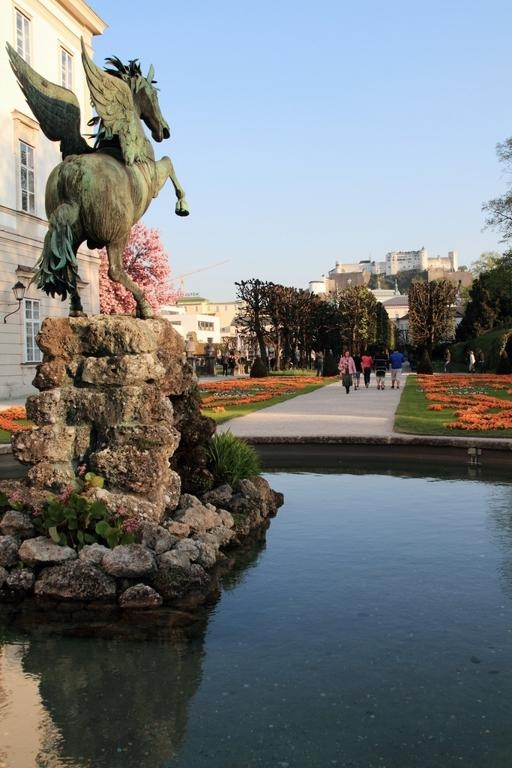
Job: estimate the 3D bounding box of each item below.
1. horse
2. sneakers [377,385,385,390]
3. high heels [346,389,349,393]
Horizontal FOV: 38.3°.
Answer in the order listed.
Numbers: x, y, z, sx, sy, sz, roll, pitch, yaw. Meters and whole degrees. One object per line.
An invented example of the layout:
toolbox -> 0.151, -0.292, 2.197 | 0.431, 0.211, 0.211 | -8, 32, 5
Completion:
horse -> -1.611, -2.076, 7.539 | 1.579, 2.812, 1.659 | -3, 4, -9
sneakers -> 5.039, 0.111, 29.759 | 0.158, 0.177, 0.431 | -3, -1, 12
high heels -> 3.420, 0.258, 27.587 | 0.048, 0.138, 0.089 | -7, 2, 34
